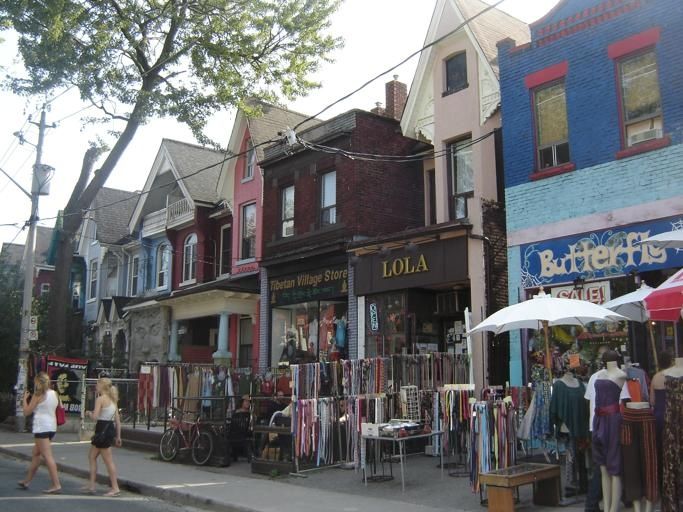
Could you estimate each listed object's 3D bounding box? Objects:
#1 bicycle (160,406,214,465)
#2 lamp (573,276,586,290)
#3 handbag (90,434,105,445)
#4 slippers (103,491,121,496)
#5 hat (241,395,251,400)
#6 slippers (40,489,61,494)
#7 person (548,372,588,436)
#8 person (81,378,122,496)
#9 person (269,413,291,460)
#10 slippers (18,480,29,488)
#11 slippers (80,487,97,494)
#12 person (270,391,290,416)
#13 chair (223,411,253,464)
[{"bbox_3d":[-4.009,4.672,19.344,1.881,1.197,0.873,-4,-17,44],"label":"bicycle"},{"bbox_3d":[5.854,0.640,18.477,0.268,0.331,0.250,0,-7,18],"label":"lamp"},{"bbox_3d":[-5.147,3.860,15.903,0.266,0.246,0.117,-1,-12,0],"label":"handbag"},{"bbox_3d":[-4.828,4.980,15.861,0.334,0.144,0.129,4,-16,-3],"label":"slippers"},{"bbox_3d":[-2.714,3.993,21.428,0.253,0.183,0.275,1,-6,-13],"label":"hat"},{"bbox_3d":[-6.047,4.893,15.755,0.296,0.099,0.124,0,-18,13],"label":"slippers"},{"bbox_3d":[4.375,2.872,14.537,0.726,1.183,0.326,-4,-12,17],"label":"person"},{"bbox_3d":[-5.084,3.852,16.214,0.674,2.432,0.825,3,-12,-19],"label":"person"},{"bbox_3d":[-1.467,4.298,18.067,0.511,1.071,1.458,0,-13,-5],"label":"person"},{"bbox_3d":[-6.768,4.856,16.037,0.272,0.110,0.099,21,-10,42],"label":"slippers"},{"bbox_3d":[-5.421,4.978,16.119,0.254,0.117,0.148,12,-23,3],"label":"slippers"},{"bbox_3d":[-1.641,3.900,20.514,0.484,0.634,0.894,-4,-9,17],"label":"person"},{"bbox_3d":[-2.661,4.636,19.586,0.616,1.240,1.144,1,-13,-7],"label":"chair"}]
